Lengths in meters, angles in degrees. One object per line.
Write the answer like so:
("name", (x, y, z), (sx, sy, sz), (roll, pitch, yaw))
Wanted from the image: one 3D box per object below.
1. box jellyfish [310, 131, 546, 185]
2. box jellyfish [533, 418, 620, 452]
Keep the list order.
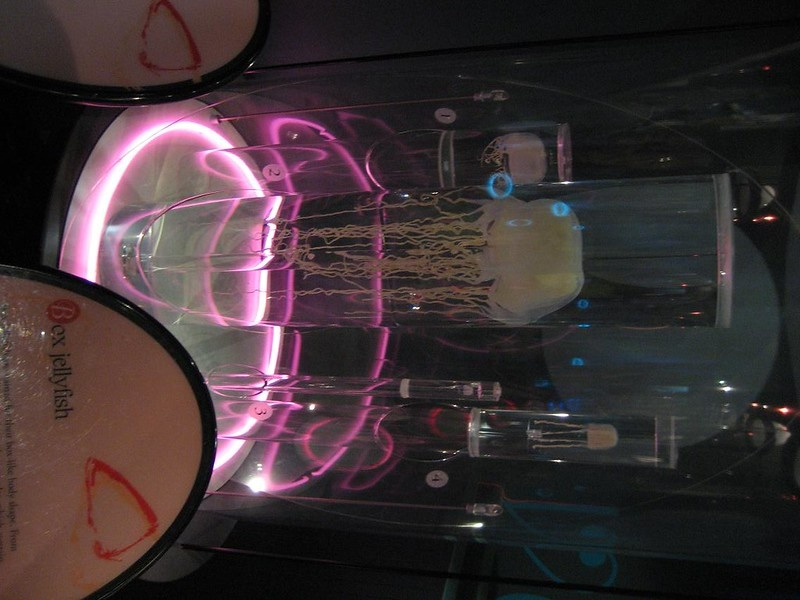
("box jellyfish", (0.170, -0.316, 1.607), (0.568, 0.122, 0.180), (7, 16, 41))
("box jellyfish", (0.382, 0.280, 1.493), (0.244, 0.041, 0.043), (3, 15, 4))
